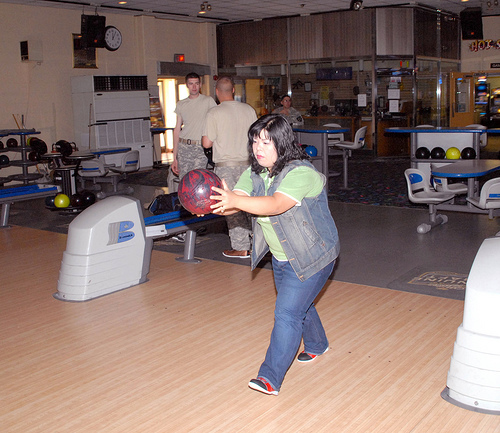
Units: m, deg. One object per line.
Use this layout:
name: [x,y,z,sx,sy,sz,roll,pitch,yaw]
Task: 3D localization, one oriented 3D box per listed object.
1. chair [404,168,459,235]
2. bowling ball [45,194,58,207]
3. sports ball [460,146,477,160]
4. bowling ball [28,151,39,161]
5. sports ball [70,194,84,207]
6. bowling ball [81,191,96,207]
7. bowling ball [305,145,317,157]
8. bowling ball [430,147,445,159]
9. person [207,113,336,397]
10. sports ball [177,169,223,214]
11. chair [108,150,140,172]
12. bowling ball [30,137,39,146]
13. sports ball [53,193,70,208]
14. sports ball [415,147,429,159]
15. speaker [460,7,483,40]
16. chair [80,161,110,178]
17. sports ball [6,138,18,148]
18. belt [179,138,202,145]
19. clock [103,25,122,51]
chair: [2.641,-0.253,5.442,0.810,0.848,0.618,-13,14,-30]
bowling ball: [-3.715,-0.327,7.025,0.227,0.052,0.222,4,41,-3]
sports ball: [3.956,-1.142,6.694,0.259,0.201,0.271,-2,9,0]
bowling ball: [-4.995,-1.404,8.636,0.259,0.224,0.250,0,-1,0]
sports ball: [-3.195,-0.303,6.871,0.217,0.238,0.219,1,9,0]
bowling ball: [-3.011,-0.308,7.098,0.346,0.372,0.332,4,-1,0]
bowling ball: [1.256,-1.364,7.771,0.221,0.196,0.377,0,9,12]
bowling ball: [3.425,-1.148,6.888,0.219,0.243,0.212,-4,-7,-1]
person: [0.270,0.156,2.548,0.603,1.509,2.129,0,9,12]
sports ball: [-0.232,-0.103,1.904,0.266,0.284,0.258,-1,-8,0]
chair: [-2.970,-1.318,8.753,0.572,0.481,0.561,9,14,27]
bowling ball: [-4.993,-1.730,8.612,0.145,0.180,0.360,-7,10,-28]
sports ball: [-3.439,-0.279,6.912,0.253,0.273,0.243,-3,-13,-1]
sports ball: [3.194,-1.208,7.037,0.262,0.211,0.217,-4,19,-12]
speaker: [7.433,-6.454,12.558,0.658,0.896,0.277,2,10,24]
chair: [-3.489,-1.060,8.396,0.469,0.365,0.380,3,22,8]
sports ball: [-5.779,-1.793,9.076,0.219,0.240,0.586,-8,10,-30]
belt: [-0.831,-1.022,5.060,0.389,0.106,0.108,5,12,40]
clock: [-4.160,-5.382,11.309,0.140,0.580,0.614,8,5,31]
